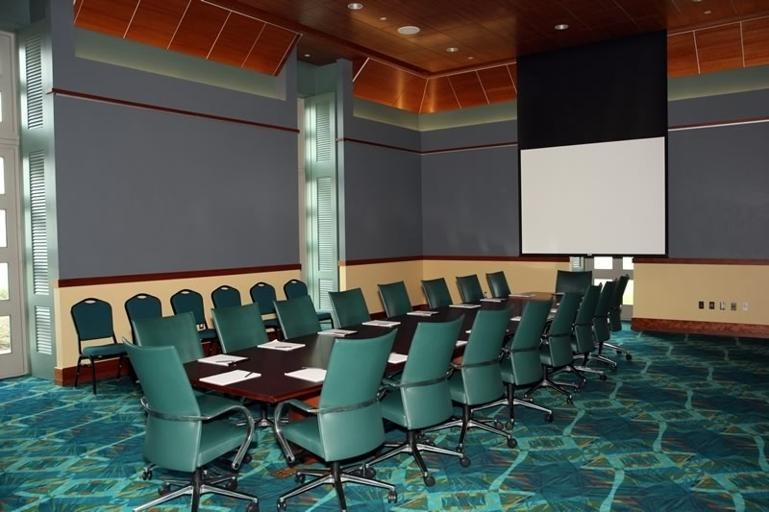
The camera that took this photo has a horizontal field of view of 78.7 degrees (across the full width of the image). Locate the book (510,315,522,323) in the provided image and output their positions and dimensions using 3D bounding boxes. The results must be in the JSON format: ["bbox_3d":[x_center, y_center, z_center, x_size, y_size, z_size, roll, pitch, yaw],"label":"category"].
[{"bbox_3d":[1.677,0.801,5.985,0.131,0.028,0.141,-3,5,-41],"label":"book"}]

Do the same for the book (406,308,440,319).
[{"bbox_3d":[0.528,0.800,6.536,0.310,0.020,0.275,2,3,37],"label":"book"}]

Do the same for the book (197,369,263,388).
[{"bbox_3d":[-1.293,1.015,3.918,0.384,0.028,0.362,-1,3,33],"label":"book"}]

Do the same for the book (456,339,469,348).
[{"bbox_3d":[0.789,0.901,4.808,0.144,0.028,0.133,-3,2,-44],"label":"book"}]

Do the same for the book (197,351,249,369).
[{"bbox_3d":[-1.528,0.974,4.447,0.491,0.036,0.346,-1,3,41],"label":"book"}]

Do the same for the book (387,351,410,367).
[{"bbox_3d":[0.115,0.963,4.383,0.178,0.017,0.169,5,6,35],"label":"book"}]
